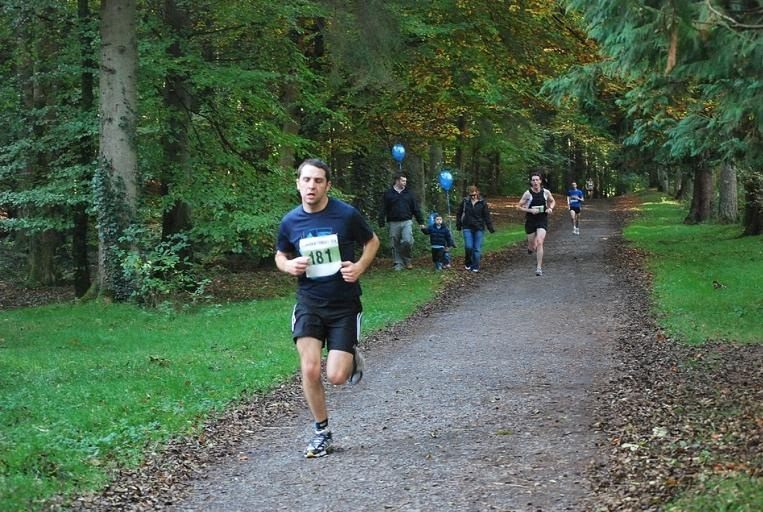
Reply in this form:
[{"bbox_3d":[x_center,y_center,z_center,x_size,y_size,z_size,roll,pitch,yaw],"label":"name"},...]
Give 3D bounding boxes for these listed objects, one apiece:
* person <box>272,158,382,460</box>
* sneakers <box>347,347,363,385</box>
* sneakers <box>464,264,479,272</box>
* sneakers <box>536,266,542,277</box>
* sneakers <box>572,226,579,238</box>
[{"bbox_3d":[-0.685,0.639,10.074,1.227,3.723,0.964,-11,16,-25],"label":"person"},{"bbox_3d":[-0.303,1.467,10.235,0.217,0.532,0.257,0,0,4],"label":"sneakers"},{"bbox_3d":[2.308,0.287,19.575,0.161,0.240,0.269,-8,-9,35],"label":"sneakers"},{"bbox_3d":[3.740,0.379,18.438,0.222,0.255,0.621,-2,-3,14],"label":"sneakers"},{"bbox_3d":[7.053,-0.888,28.131,0.202,0.222,0.566,-2,-1,16],"label":"sneakers"}]
